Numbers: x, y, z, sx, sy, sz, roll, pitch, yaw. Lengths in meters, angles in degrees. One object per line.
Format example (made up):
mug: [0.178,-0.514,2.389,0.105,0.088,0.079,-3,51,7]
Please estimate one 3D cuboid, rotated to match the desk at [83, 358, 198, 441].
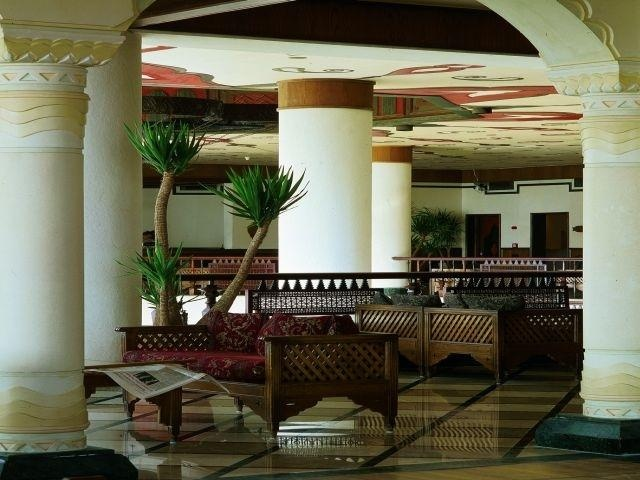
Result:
desk: [-1.202,0.953,4.186,0.318,0.729,0.627,-27,2,-17]
